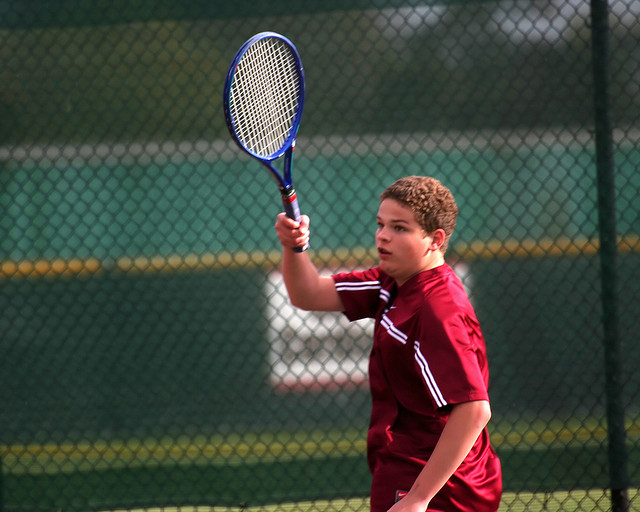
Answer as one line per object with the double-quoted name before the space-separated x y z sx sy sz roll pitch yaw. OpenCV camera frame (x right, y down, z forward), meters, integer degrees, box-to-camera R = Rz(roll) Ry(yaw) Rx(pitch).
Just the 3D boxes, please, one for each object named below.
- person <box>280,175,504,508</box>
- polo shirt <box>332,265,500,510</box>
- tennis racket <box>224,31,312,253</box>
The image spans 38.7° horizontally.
"person" 0.361 0.395 4.340 0.940 1.523 0.417 1 2 34
"polo shirt" 0.442 0.631 4.350 0.799 1.175 0.320 1 2 41
"tennis racket" -0.304 -0.705 5.383 0.105 1.458 0.583 7 44 31
